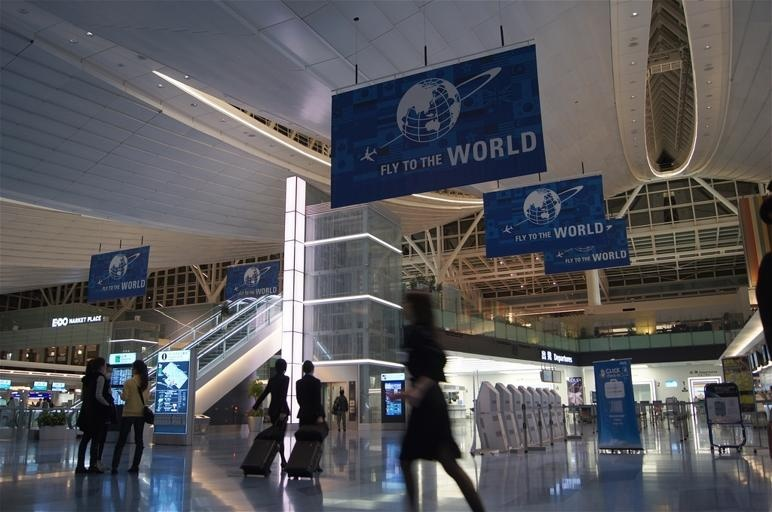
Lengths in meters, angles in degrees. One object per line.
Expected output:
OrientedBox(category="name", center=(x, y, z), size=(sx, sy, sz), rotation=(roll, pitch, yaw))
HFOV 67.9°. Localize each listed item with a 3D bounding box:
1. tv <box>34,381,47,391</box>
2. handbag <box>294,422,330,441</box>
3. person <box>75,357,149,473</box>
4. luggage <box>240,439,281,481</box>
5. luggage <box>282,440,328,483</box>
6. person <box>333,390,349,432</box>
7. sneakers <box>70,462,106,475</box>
OrientedBox(category="tv", center=(-20.900, 7.828, 34.767), size=(0.779, 0.506, 0.753), rotation=(8, -17, -31))
OrientedBox(category="handbag", center=(-1.205, 2.991, 9.941), size=(0.615, 0.286, 0.592), rotation=(-6, -12, 12))
OrientedBox(category="person", center=(-4.915, 2.850, 10.398), size=(1.218, 1.980, 0.717), rotation=(-5, -15, 14))
OrientedBox(category="luggage", center=(-2.172, 3.378, 9.915), size=(0.437, 0.663, 0.390), rotation=(8, 1, -7))
OrientedBox(category="luggage", center=(-1.374, 3.405, 9.657), size=(0.646, 0.605, 0.459), rotation=(6, -16, -26))
OrientedBox(category="person", center=(-1.606, 5.353, 20.074), size=(0.497, 1.454, 0.897), rotation=(0, -15, -5))
OrientedBox(category="sneakers", center=(-5.225, 3.730, 10.121), size=(0.557, 0.152, 0.191), rotation=(-1, -20, 0))
